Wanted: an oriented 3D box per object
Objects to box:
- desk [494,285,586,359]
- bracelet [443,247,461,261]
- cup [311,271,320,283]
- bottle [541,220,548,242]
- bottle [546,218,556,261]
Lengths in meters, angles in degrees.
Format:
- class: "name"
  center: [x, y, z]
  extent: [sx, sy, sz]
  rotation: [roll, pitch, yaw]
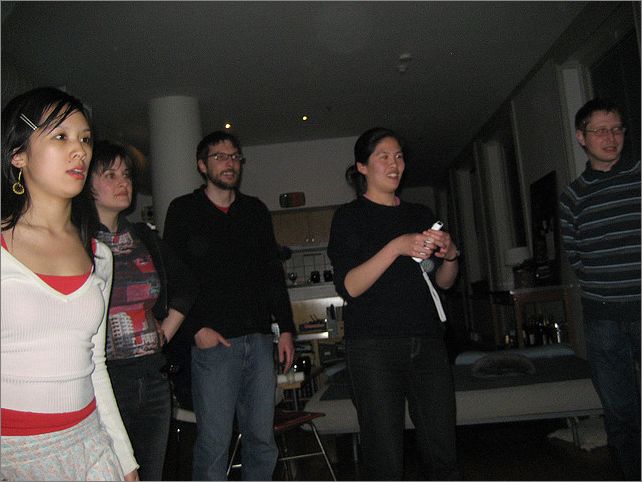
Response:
- class: "desk"
  center: [2.188, 0.922, 5.019]
  extent: [0.902, 0.835, 0.698]
  rotation: [-1, -9, -4]
- class: "bracelet"
  center: [0.536, 0.058, 1.926]
  extent: [0.063, 0.052, 0.025]
  rotation: [-11, -41, 36]
- class: "cup"
  center: [-0.099, 0.526, 6.943]
  extent: [0.130, 0.158, 0.129]
  rotation: [-1, -23, 0]
- class: "bottle"
  center: [2.520, -0.142, 5.323]
  extent: [0.040, 0.163, 0.040]
  rotation: [0, 3, 0]
- class: "bottle"
  center: [2.512, -0.008, 5.179]
  extent: [0.048, 0.416, 0.234]
  rotation: [-4, -7, 10]
